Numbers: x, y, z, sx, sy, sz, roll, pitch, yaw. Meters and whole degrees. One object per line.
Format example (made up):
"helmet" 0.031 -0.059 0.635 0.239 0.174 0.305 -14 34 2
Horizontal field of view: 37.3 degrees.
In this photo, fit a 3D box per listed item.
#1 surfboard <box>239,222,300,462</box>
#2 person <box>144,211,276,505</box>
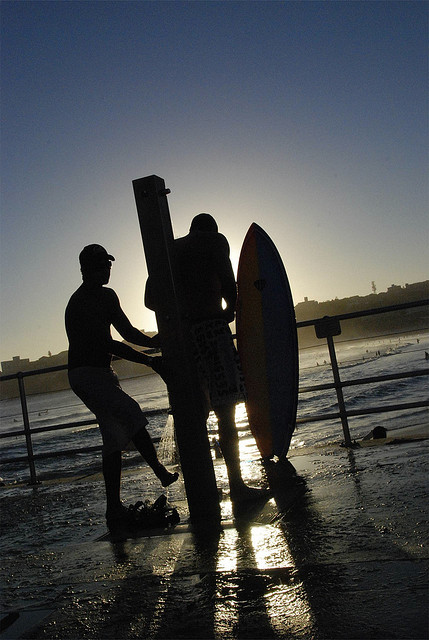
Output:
"surfboard" 0.287 0.106 3.556 0.338 1.279 0.129 -5 -5 14
"person" 0.029 0.166 3.024 0.288 1.142 0.449 -11 -4 0
